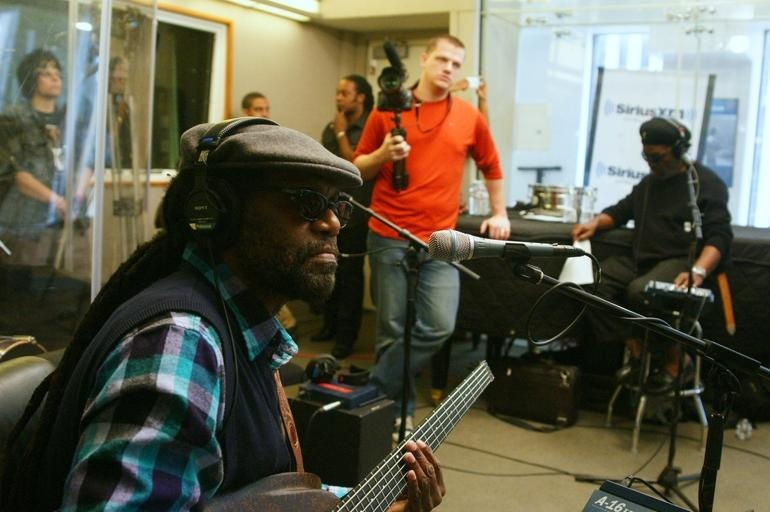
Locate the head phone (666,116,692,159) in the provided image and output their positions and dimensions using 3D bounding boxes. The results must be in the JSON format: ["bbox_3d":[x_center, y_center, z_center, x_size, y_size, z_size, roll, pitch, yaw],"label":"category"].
[{"bbox_3d":[1.661,-0.659,4.064,0.091,0.216,0.177,-7,16,27],"label":"head phone"}]

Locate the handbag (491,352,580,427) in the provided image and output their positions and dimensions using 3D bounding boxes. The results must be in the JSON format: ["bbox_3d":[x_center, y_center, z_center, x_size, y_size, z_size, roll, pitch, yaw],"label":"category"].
[{"bbox_3d":[0.998,0.871,4.755,0.649,0.433,0.375,1,3,31],"label":"handbag"}]

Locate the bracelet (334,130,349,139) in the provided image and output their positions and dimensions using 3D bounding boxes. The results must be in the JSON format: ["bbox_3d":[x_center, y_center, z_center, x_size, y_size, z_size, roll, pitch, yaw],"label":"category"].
[{"bbox_3d":[-0.354,-0.965,5.778,0.081,0.074,0.082,-2,-27,8],"label":"bracelet"}]

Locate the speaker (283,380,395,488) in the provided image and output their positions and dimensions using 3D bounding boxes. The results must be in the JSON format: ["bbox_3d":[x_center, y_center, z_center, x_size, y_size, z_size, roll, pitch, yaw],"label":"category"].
[{"bbox_3d":[-0.208,0.880,3.953,0.614,0.554,0.431,2,4,16],"label":"speaker"}]

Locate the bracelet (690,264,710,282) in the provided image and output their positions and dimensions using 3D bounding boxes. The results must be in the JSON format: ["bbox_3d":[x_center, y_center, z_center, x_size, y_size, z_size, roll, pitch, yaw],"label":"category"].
[{"bbox_3d":[1.821,0.091,4.177,0.061,0.074,0.068,21,-50,-42],"label":"bracelet"}]

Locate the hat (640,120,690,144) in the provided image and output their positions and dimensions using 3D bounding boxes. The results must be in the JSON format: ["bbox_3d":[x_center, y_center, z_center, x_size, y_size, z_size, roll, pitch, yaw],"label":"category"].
[{"bbox_3d":[1.581,-0.698,4.076,0.185,0.097,0.167,15,18,-7],"label":"hat"}]

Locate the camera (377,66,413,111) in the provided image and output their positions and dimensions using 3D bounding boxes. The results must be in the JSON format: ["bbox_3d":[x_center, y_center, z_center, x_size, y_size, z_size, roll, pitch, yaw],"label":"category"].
[{"bbox_3d":[0.048,-0.905,3.926,0.160,0.107,0.266,-2,32,4],"label":"camera"}]

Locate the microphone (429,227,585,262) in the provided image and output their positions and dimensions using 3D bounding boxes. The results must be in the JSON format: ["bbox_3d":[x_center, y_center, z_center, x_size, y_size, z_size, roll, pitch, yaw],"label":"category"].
[{"bbox_3d":[0.606,-0.057,3.413,0.877,0.191,0.192,1,-21,-8],"label":"microphone"}]

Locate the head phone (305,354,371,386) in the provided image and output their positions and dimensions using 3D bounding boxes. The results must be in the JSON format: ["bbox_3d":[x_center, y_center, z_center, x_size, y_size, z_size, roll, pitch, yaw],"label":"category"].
[{"bbox_3d":[-0.256,0.625,3.961,0.251,0.096,0.189,-1,-1,15],"label":"head phone"}]

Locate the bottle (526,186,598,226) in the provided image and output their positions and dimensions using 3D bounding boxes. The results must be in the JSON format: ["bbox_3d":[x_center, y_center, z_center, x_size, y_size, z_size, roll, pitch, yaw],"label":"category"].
[{"bbox_3d":[1.207,-0.360,4.916,0.328,0.142,0.335,0,5,0],"label":"bottle"}]

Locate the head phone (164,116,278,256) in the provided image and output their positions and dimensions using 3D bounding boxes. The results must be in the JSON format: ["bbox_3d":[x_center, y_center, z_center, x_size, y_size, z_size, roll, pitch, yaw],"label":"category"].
[{"bbox_3d":[-0.606,-0.261,2.680,0.225,0.456,0.534,1,-2,1],"label":"head phone"}]

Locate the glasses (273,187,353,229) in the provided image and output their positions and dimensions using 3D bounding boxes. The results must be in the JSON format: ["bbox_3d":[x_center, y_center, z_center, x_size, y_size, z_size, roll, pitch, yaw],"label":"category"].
[{"bbox_3d":[-0.237,-0.183,2.545,0.169,0.052,0.163,7,-3,31],"label":"glasses"}]
